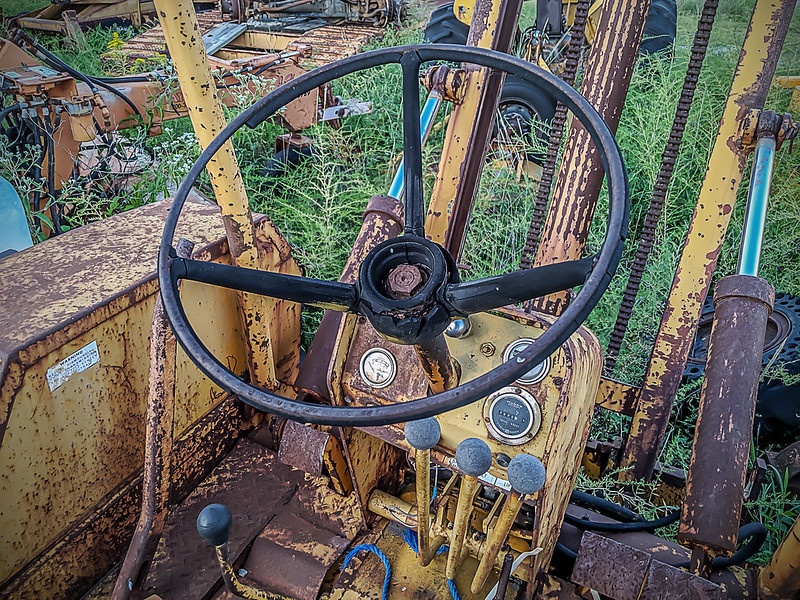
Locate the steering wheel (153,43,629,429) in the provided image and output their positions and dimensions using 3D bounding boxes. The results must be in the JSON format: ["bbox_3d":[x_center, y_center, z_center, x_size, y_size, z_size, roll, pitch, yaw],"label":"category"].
[{"bbox_3d":[0.018,0.055,1.167,0.796,0.337,0.866,-6,58,10],"label":"steering wheel"}]

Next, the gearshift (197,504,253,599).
[{"bbox_3d":[-0.486,0.707,1.557,0.098,0.377,0.102,-9,44,-4],"label":"gearshift"}]
